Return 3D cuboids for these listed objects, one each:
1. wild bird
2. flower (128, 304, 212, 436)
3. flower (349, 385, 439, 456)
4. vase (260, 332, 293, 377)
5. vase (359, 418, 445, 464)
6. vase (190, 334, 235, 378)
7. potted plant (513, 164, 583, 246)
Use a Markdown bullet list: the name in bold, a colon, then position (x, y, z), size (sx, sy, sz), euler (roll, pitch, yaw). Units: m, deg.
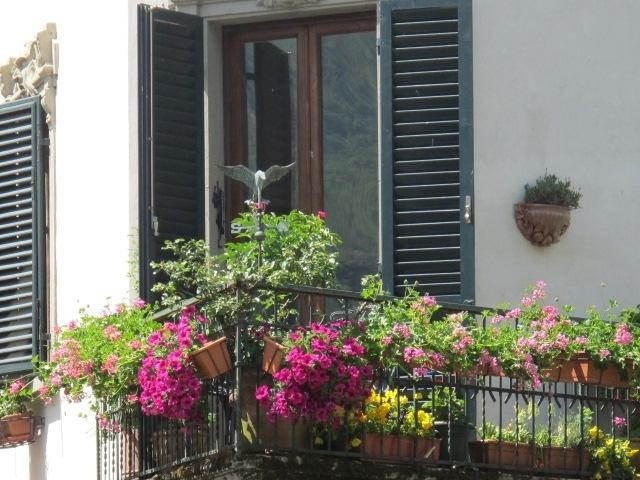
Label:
- **wild bird**: position (-0.488, -0.474, 17.743), size (0.683, 0.382, 0.482), euler (0, -5, -14)
- **flower**: position (-1.193, 1.106, 17.203), size (0.555, 0.939, 0.495), euler (-8, -2, -13)
- **flower**: position (0.626, 1.533, 17.287), size (0.658, 0.590, 0.612), euler (1, -3, -23)
- **vase**: position (-0.333, 0.984, 16.952), size (0.296, 0.261, 0.252), euler (26, -5, 10)
- **vase**: position (0.686, 1.710, 17.173), size (0.445, 0.148, 0.299), euler (2, -7, -9)
- **vase**: position (-0.844, 0.995, 16.971), size (0.321, 0.242, 0.324), euler (-22, -10, -13)
- **potted plant**: position (1.940, -0.275, 18.340), size (0.565, 0.639, 0.601), euler (1, -9, 0)
